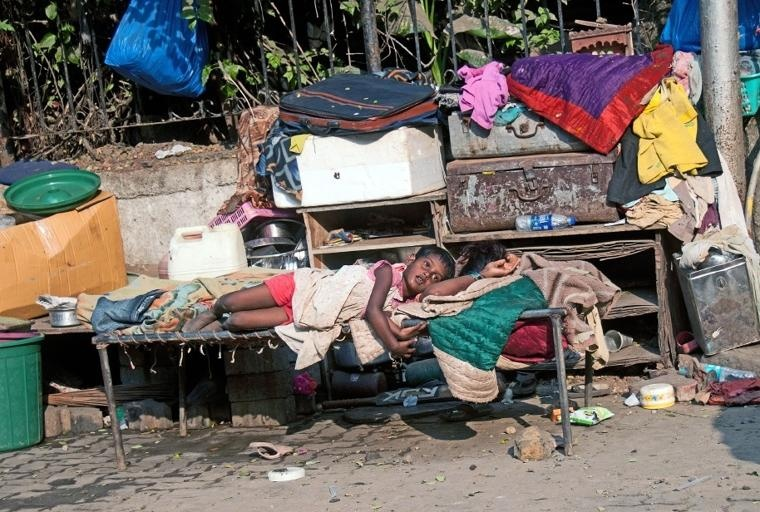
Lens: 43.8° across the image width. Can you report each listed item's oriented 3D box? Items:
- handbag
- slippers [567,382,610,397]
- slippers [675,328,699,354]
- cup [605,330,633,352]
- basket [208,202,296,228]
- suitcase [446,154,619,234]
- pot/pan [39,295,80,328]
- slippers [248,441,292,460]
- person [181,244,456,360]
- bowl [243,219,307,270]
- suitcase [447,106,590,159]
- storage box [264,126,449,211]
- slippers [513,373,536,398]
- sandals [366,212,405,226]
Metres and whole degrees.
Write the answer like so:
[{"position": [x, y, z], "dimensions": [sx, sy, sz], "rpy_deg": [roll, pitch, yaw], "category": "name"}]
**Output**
[{"position": [-0.226, -1.415, 9.201], "dimensions": [1.549, 0.565, 1.160], "rpy_deg": [4, 15, 26], "category": "handbag"}, {"position": [1.920, 1.186, 8.614], "dimensions": [0.186, 0.080, 0.286], "rpy_deg": [-1, 3, 3], "category": "slippers"}, {"position": [2.854, 0.772, 8.790], "dimensions": [0.160, 0.081, 0.207], "rpy_deg": [-26, 12, 4], "category": "slippers"}, {"position": [2.301, 0.777, 9.039], "dimensions": [0.263, 0.161, 0.168], "rpy_deg": [-6, 2, 2], "category": "cup"}, {"position": [-1.302, -0.456, 10.028], "dimensions": [1.095, 0.252, 0.824], "rpy_deg": [-2, 10, 6], "category": "basket"}, {"position": [1.471, -0.623, 9.241], "dimensions": [1.350, 0.534, 0.796], "rpy_deg": [-2, 1, 10], "category": "suitcase"}, {"position": [-2.987, 0.481, 8.859], "dimensions": [0.368, 0.218, 0.310], "rpy_deg": [0, 0, -1], "category": "pot/pan"}, {"position": [-0.924, 1.597, 7.982], "dimensions": [0.262, 0.084, 0.164], "rpy_deg": [-1, 4, -18], "category": "slippers"}, {"position": [-0.423, 0.422, 7.855], "dimensions": [2.093, 0.818, 0.569], "rpy_deg": [-6, 2, 9], "category": "person"}, {"position": [-1.064, -0.132, 9.806], "dimensions": [0.872, 0.598, 0.494], "rpy_deg": [-5, 24, -1], "category": "bowl"}, {"position": [1.228, -1.143, 9.028], "dimensions": [1.496, 0.402, 0.845], "rpy_deg": [-1, 13, 10], "category": "suitcase"}, {"position": [-0.112, -0.859, 9.197], "dimensions": [1.452, 0.640, 0.432], "rpy_deg": [-6, 2, -2], "category": "storage box"}, {"position": [1.371, 1.174, 8.877], "dimensions": [0.180, 0.076, 0.227], "rpy_deg": [2, 10, 19], "category": "slippers"}, {"position": [0.069, -0.381, 9.735], "dimensions": [0.397, 0.126, 0.138], "rpy_deg": [3, 10, 4], "category": "sandals"}]
